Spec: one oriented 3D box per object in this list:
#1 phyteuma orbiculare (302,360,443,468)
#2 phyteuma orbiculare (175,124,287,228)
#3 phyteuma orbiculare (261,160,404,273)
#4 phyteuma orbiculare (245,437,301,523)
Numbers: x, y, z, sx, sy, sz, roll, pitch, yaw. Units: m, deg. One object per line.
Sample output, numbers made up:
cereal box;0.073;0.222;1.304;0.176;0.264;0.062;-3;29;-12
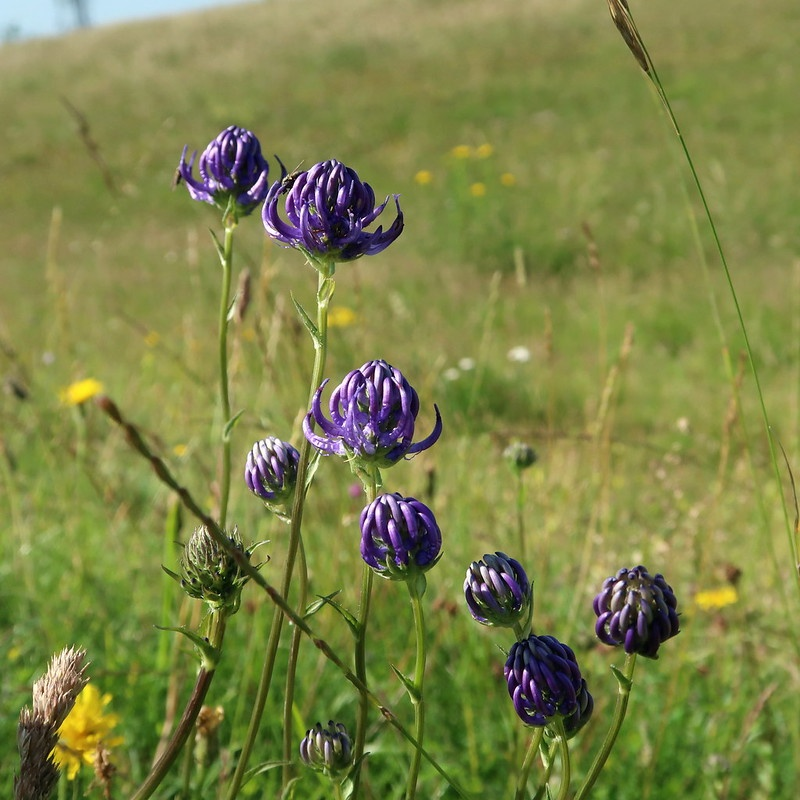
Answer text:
phyteuma orbiculare;-0.122;0.063;3.696;0.328;0.360;0.340;10;19;5
phyteuma orbiculare;-0.666;-0.851;4.231;0.218;0.484;0.257;0;11;11
phyteuma orbiculare;-0.244;-0.643;3.870;0.484;0.345;0.180;-12;25;10
phyteuma orbiculare;-0.463;0.263;4.004;0.129;0.389;0.191;3;9;24
